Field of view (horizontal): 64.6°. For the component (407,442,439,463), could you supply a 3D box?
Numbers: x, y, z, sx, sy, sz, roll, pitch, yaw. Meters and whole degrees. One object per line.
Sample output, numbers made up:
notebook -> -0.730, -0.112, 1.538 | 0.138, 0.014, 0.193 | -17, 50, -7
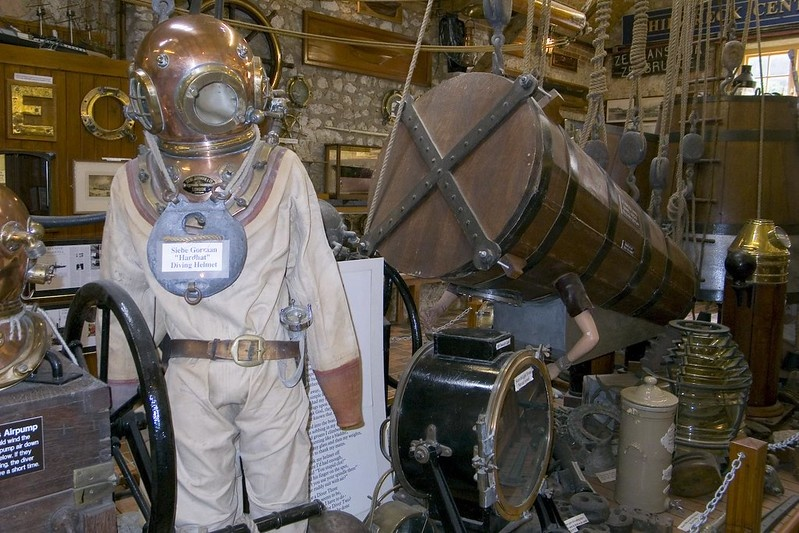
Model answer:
component -> 0.095, 0.752, 2.559 | 0.094, 0.078, 0.036 | 0, 15, 25

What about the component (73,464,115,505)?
component -> -1.028, 0.733, 2.150 | 0.121, 0.136, 0.030 | -2, 6, -31

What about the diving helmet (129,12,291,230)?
diving helmet -> -0.781, -0.663, 2.535 | 0.558, 0.737, 0.594 | 0, 35, -6

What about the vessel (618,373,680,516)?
vessel -> 1.249, 0.913, 3.216 | 0.268, 0.684, 0.331 | 3, 8, 24

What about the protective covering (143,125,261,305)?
protective covering -> -0.745, -0.249, 2.338 | 0.427, 0.822, 0.109 | -1, 23, -24

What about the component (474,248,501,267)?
component -> 0.396, -0.045, 2.863 | 0.083, 0.089, 0.052 | 31, 18, 20

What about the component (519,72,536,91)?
component -> 0.581, -0.836, 2.870 | 0.087, 0.087, 0.044 | 4, 8, 28
